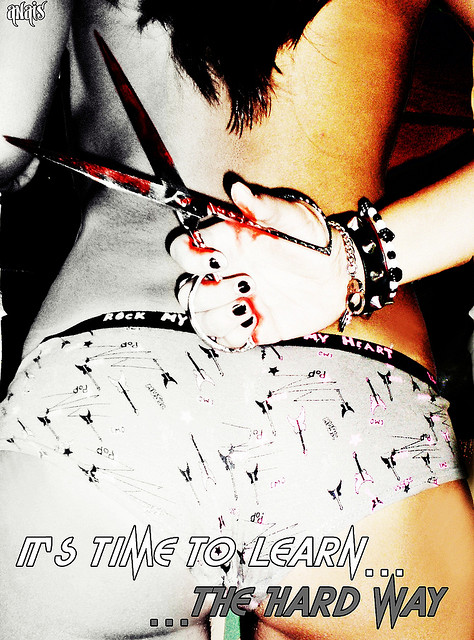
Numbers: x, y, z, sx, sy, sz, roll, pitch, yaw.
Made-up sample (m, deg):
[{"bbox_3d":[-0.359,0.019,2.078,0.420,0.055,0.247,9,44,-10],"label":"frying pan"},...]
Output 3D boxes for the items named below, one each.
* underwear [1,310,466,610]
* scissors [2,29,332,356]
[{"bbox_3d":[0.000,0.146,1.010,0.767,0.193,0.356,2,81,-6],"label":"underwear"},{"bbox_3d":[-0.094,-0.177,0.896,0.355,0.049,0.415,-14,75,-27],"label":"scissors"}]
